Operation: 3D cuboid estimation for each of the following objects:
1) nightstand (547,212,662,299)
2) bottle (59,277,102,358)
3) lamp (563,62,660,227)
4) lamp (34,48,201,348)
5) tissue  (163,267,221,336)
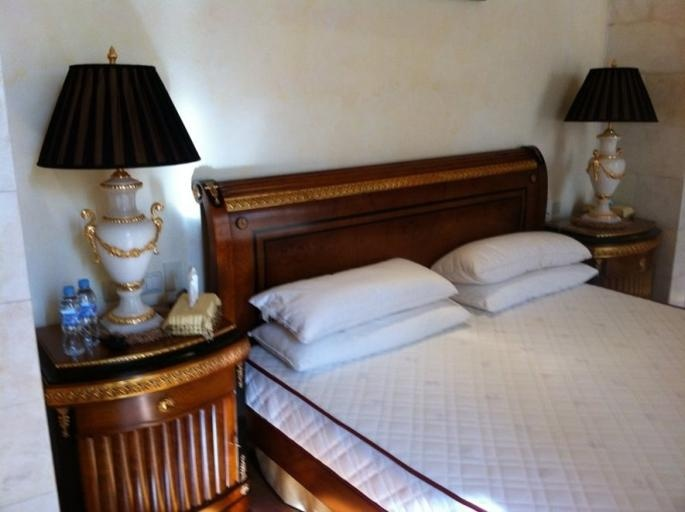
[{"bbox_3d":[1.582,-0.007,3.168,0.431,0.636,0.538,4,19,23],"label":"nightstand"},{"bbox_3d":[-0.873,0.218,1.799,0.102,0.284,0.121,-2,18,-20],"label":"bottle"},{"bbox_3d":[1.529,-0.640,3.087,0.449,0.854,0.481,4,7,7],"label":"lamp"},{"bbox_3d":[-0.792,-0.242,1.902,0.469,0.978,0.519,-2,12,-12],"label":"lamp"},{"bbox_3d":[-0.553,0.157,1.958,0.198,0.230,0.277,-1,18,-15],"label":"tissue "}]
